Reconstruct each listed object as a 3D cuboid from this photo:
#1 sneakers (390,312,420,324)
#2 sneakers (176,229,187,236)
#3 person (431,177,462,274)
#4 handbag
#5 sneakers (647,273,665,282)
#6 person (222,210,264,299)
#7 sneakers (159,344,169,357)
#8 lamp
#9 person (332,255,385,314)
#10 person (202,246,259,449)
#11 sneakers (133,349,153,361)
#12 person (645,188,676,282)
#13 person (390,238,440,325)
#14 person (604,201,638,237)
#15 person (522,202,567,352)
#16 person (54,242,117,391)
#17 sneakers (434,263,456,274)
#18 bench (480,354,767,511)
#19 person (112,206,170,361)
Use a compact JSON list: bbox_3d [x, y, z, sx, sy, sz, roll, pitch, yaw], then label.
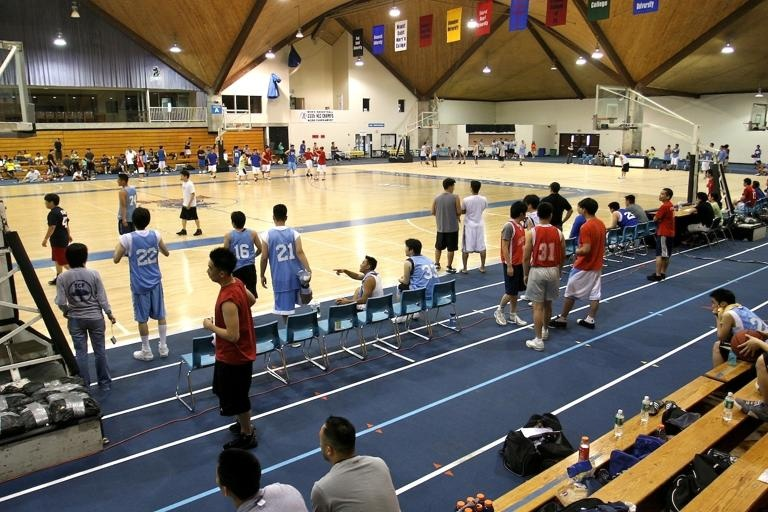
[{"bbox_3d":[0.455,1.232,10.438,0.614,0.277,0.210,-1,2,-33],"label":"sneakers"},{"bbox_3d":[-6.465,-0.751,16.697,0.364,0.268,0.150,10,14,15],"label":"sneakers"},{"bbox_3d":[1.537,-0.719,12.704,0.663,2.342,1.494,-2,11,5],"label":"person"},{"bbox_3d":[1.970,2.412,6.715,0.767,0.393,0.574,-22,23,-27],"label":"handbag"},{"bbox_3d":[6.511,0.518,12.572,0.343,0.156,0.195,9,14,37],"label":"sneakers"},{"bbox_3d":[-2.549,0.041,9.675,0.678,2.030,0.591,3,36,-9],"label":"person"},{"bbox_3d":[-3.762,1.627,8.989,0.118,0.113,0.256,-2,13,-24],"label":"sneakers"},{"bbox_3d":[6.743,-0.461,14.394,4.955,1.836,1.093,1,-18,-20],"label":"lamp"},{"bbox_3d":[-0.498,0.635,9.572,0.899,1.280,0.766,6,8,21],"label":"person"},{"bbox_3d":[-1.928,1.234,6.712,0.575,2.713,0.427,-6,12,-17],"label":"person"},{"bbox_3d":[-4.069,1.666,8.995,0.391,0.196,0.154,11,13,20],"label":"sneakers"},{"bbox_3d":[6.726,-0.563,12.715,0.494,2.132,1.138,4,13,29],"label":"person"},{"bbox_3d":[0.592,0.520,10.233,0.653,1.734,0.924,-9,12,-40],"label":"person"},{"bbox_3d":[6.241,-1.062,13.627,0.624,0.904,2.102,3,14,26],"label":"person"},{"bbox_3d":[2.791,0.455,9.373,0.719,2.311,0.513,-11,14,-38],"label":"person"},{"bbox_3d":[-4.412,0.945,7.808,0.697,2.277,0.578,-9,13,-29],"label":"person"},{"bbox_3d":[1.580,0.314,12.951,0.669,0.312,0.236,2,9,12],"label":"sneakers"},{"bbox_3d":[3.007,2.354,6.403,3.710,0.796,1.046,-26,12,-25],"label":"bench"},{"bbox_3d":[-3.976,0.480,8.799,0.763,2.549,0.743,-7,12,-22],"label":"person"}]
